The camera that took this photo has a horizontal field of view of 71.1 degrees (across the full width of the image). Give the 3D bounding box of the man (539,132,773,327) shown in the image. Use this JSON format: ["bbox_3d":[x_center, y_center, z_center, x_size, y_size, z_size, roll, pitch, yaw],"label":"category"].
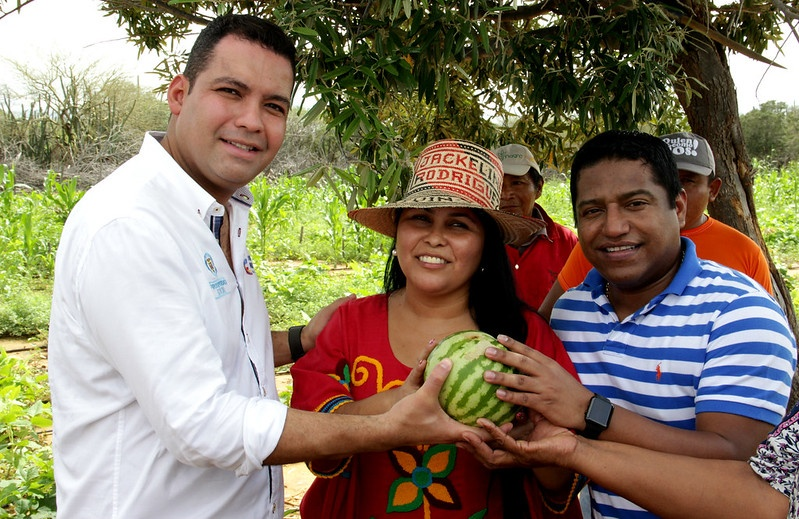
[{"bbox_3d":[1.700,-0.193,3.710,1.629,1.428,0.908,-5,-4,23],"label":"man"}]

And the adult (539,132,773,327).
[{"bbox_3d":[1.700,-0.193,3.710,1.629,1.428,0.908,-5,-4,23],"label":"adult"}]

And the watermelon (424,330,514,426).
[{"bbox_3d":[0.389,0.611,3.013,0.383,0.506,0.387,6,38,43],"label":"watermelon"}]

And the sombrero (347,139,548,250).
[{"bbox_3d":[0.340,-0.394,3.628,1.142,0.535,1.217,8,-6,6],"label":"sombrero"}]
